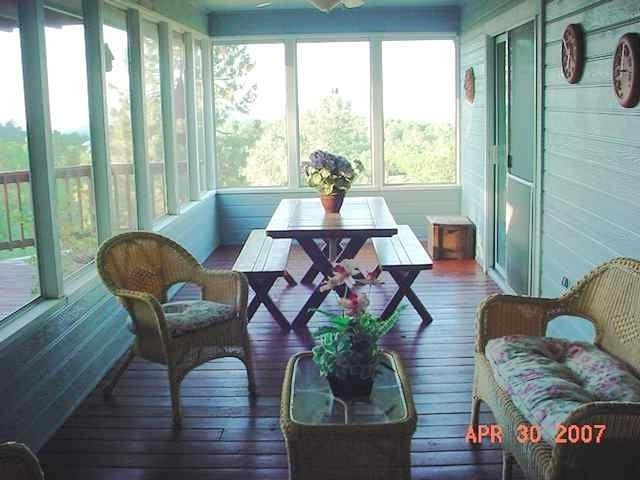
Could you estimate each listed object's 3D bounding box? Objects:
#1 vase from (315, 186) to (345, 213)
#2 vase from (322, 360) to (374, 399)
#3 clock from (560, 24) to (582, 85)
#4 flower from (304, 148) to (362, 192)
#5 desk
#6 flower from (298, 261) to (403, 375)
[{"bbox_3d":[0.106,-0.390,4.670,0.233,0.247,0.226,-2,7,-8],"label":"vase"},{"bbox_3d":[0.151,0.665,2.330,0.200,0.114,0.143,-1,3,-4],"label":"vase"},{"bbox_3d":[1.748,-1.289,3.368,0.042,0.399,0.398,-5,0,12],"label":"clock"},{"bbox_3d":[0.160,-0.698,4.604,0.429,0.255,0.432,2,30,25],"label":"flower"},{"bbox_3d":[0.125,-0.102,4.624,1.067,0.953,1.860,-1,20,1],"label":"desk"},{"bbox_3d":[0.073,0.289,2.700,0.545,0.877,0.641,1,2,-6],"label":"flower"}]
